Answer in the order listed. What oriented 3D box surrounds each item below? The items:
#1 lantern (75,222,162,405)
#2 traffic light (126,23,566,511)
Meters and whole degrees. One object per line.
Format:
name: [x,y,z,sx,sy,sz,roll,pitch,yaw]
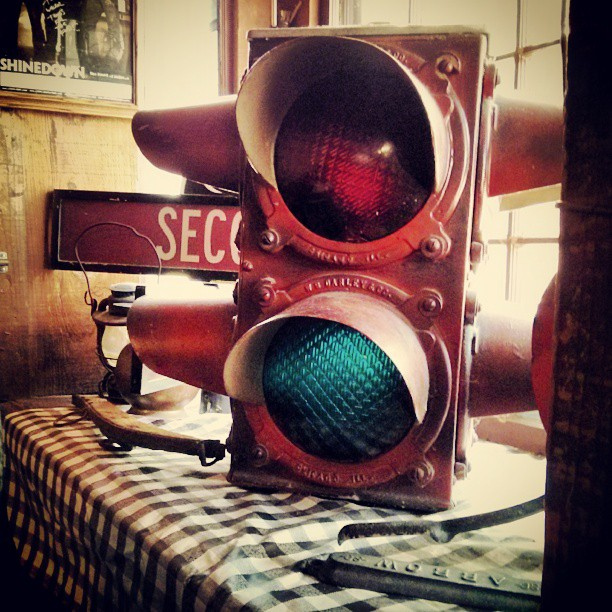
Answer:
lantern: [-0.371,0.046,1.430,0.123,0.403,0.175,-6,19,-35]
traffic light: [0.042,-0.023,0.957,0.720,0.818,0.141,2,5,15]
